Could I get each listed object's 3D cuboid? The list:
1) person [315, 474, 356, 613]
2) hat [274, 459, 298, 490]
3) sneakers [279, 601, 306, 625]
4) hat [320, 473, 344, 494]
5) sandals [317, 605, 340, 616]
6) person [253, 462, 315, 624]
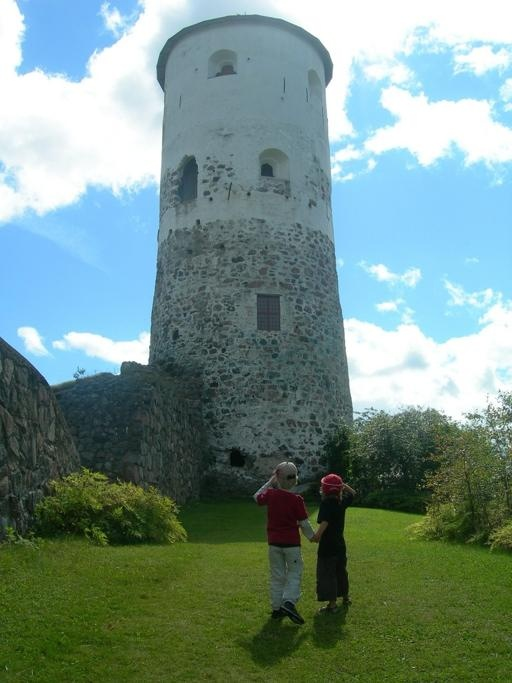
[{"bbox_3d":[0.688,1.773,5.429,0.326,1.154,0.614,3,-2,9],"label":"person"},{"bbox_3d":[0.272,1.154,5.342,0.191,0.265,0.256,4,-55,8],"label":"hat"},{"bbox_3d":[0.297,2.204,5.002,0.191,0.186,0.182,2,-2,25],"label":"sneakers"},{"bbox_3d":[0.680,1.274,5.558,0.146,0.109,0.204,4,2,3],"label":"hat"},{"bbox_3d":[0.630,2.305,5.319,0.171,0.075,0.064,-11,-14,19],"label":"sandals"},{"bbox_3d":[0.244,1.672,5.197,0.301,1.276,0.560,5,-3,-41],"label":"person"}]
